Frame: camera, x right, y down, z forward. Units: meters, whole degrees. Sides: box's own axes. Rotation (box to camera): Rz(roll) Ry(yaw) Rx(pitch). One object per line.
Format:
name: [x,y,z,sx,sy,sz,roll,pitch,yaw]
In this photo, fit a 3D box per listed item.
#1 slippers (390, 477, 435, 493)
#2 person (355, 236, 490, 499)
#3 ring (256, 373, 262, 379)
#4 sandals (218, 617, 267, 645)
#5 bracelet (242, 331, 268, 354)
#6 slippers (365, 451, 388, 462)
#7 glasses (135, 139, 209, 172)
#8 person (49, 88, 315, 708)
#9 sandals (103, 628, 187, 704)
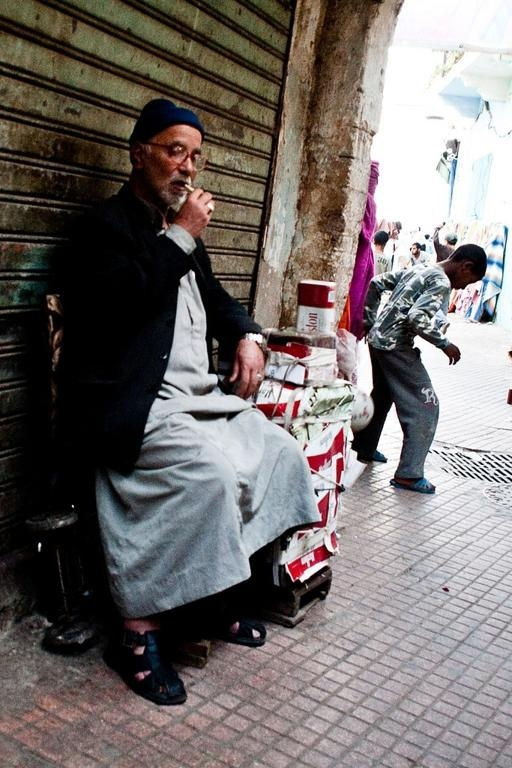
slippers: [1.216,0.787,4.588,0.350,0.119,0.121,5,14,10]
person: [1.207,-0.183,4.708,0.646,1.581,0.896,9,6,-17]
ring: [0.012,-0.033,2.468,0.024,0.021,0.039,7,-4,-5]
sandals: [-0.056,0.947,2.269,0.162,0.059,0.090,3,15,20]
bracelet: [-0.004,-0.187,2.566,0.079,0.038,0.103,22,1,-1]
slippers: [1.067,0.634,5.140,0.076,0.084,0.220,2,1,28]
glasses: [-0.298,-0.845,2.105,0.148,0.045,0.145,30,12,36]
person: [-0.217,-0.014,2.124,0.839,1.918,0.764,13,6,19]
sandals: [-0.346,0.872,1.940,0.134,0.152,0.351,-7,13,-43]
